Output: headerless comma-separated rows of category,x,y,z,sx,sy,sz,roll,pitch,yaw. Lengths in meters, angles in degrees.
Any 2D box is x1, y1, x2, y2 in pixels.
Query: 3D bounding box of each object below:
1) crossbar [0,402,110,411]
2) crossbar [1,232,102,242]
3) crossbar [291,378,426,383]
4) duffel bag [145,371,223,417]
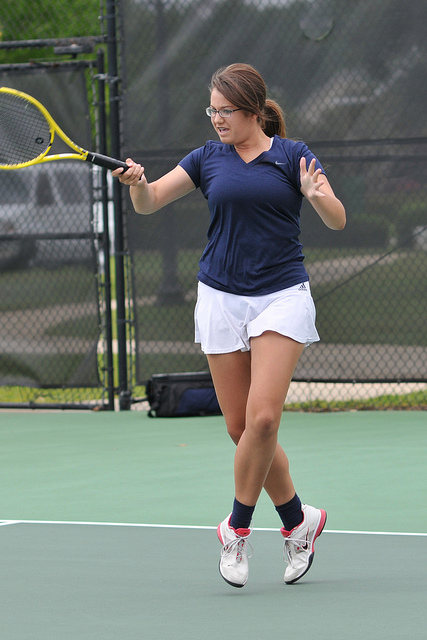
crossbar,-1.054,0.588,4.641,0.645,0.063,0.068,1,-3,-5
crossbar,-1.086,-0.555,4.507,0.708,0.064,0.081,-2,-1,9
crossbar,0.950,0.399,4.489,0.850,0.029,0.103,-2,-1,15
duffel bag,-0.212,0.456,4.598,0.452,0.165,0.347,-2,0,-33
